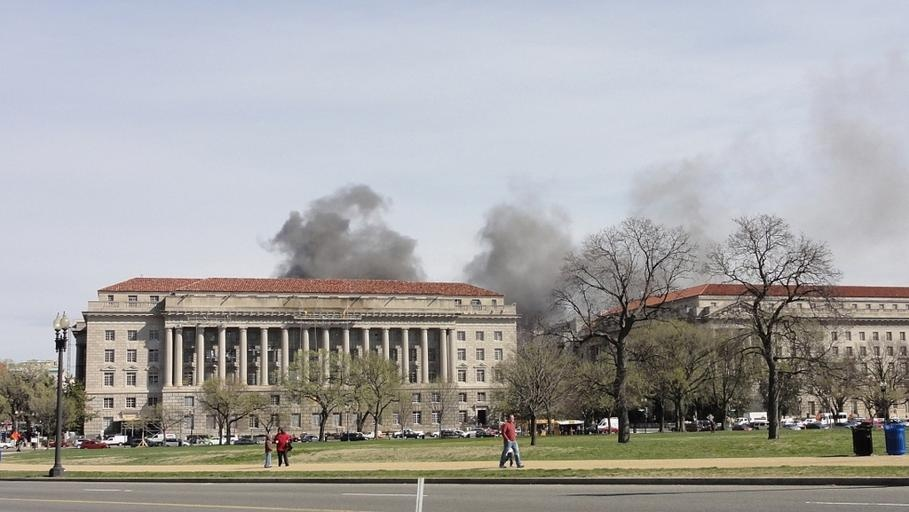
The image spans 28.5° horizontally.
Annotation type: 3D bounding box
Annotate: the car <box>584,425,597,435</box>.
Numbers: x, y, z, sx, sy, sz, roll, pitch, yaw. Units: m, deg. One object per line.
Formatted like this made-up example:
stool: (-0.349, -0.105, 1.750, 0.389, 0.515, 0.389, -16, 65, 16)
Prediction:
car: (23.382, 30.415, 308.670, 1.910, 1.340, 2.949, 4, -7, -38)
